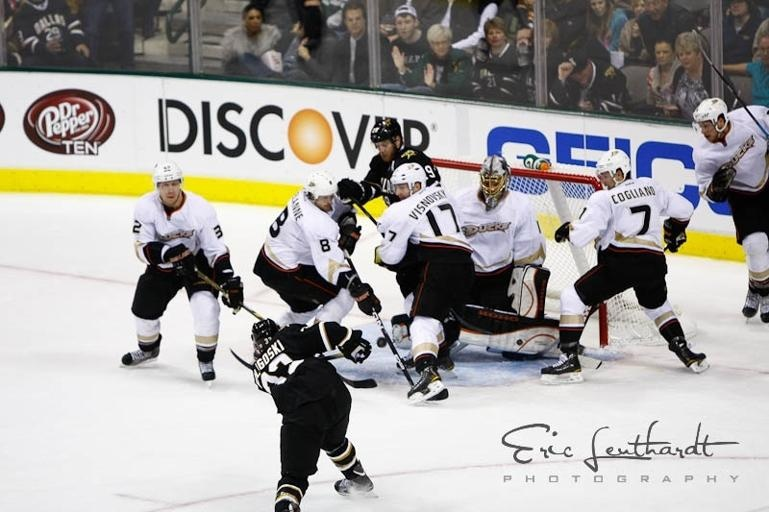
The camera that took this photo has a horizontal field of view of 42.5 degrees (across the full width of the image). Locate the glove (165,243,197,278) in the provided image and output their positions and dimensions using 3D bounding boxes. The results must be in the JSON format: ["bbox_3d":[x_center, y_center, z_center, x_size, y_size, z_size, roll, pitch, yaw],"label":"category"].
[{"bbox_3d":[-1.612,0.033,7.731,0.199,0.262,0.180,3,8,8],"label":"glove"}]

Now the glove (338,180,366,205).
[{"bbox_3d":[-0.293,-0.554,8.361,0.167,0.079,0.219,-21,38,-31],"label":"glove"}]

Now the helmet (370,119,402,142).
[{"bbox_3d":[0.009,-1.068,8.446,0.251,0.198,0.225,1,7,-1],"label":"helmet"}]

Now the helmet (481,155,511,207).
[{"bbox_3d":[0.895,-0.632,7.853,0.272,0.358,0.420,2,19,23],"label":"helmet"}]

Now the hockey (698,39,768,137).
[{"bbox_3d":[3.304,-1.583,9.266,0.054,1.220,0.180,-22,-24,3],"label":"hockey"}]

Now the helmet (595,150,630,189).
[{"bbox_3d":[1.832,-0.705,7.890,0.283,0.295,0.262,-20,10,-36],"label":"helmet"}]

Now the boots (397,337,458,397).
[{"bbox_3d":[0.339,0.907,7.394,0.556,0.246,0.702,-2,29,1],"label":"boots"}]

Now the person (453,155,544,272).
[{"bbox_3d":[0.909,-0.347,8.064,0.968,0.918,0.532,10,18,38],"label":"person"}]

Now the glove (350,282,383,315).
[{"bbox_3d":[-0.152,0.335,7.639,0.172,0.289,0.100,-37,9,0],"label":"glove"}]

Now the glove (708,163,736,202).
[{"bbox_3d":[2.954,-0.646,8.688,0.172,0.331,0.094,32,27,30],"label":"glove"}]

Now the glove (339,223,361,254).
[{"bbox_3d":[-0.299,-0.149,8.172,0.160,0.249,0.099,24,-14,-10],"label":"glove"}]

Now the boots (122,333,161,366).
[{"bbox_3d":[-1.982,0.771,8.034,0.324,0.199,0.105,-16,49,-30],"label":"boots"}]

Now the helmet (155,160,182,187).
[{"bbox_3d":[-1.742,-0.672,7.822,0.196,0.244,0.244,-9,-4,-14],"label":"helmet"}]

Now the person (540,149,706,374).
[{"bbox_3d":[1.881,0.067,7.854,1.314,1.792,0.635,1,8,-5],"label":"person"}]

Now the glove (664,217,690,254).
[{"bbox_3d":[2.398,-0.186,8.171,0.218,0.281,0.104,8,15,-2],"label":"glove"}]

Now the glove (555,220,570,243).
[{"bbox_3d":[1.428,-0.182,7.879,0.089,0.202,0.075,21,26,-12],"label":"glove"}]

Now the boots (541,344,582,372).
[{"bbox_3d":[1.330,0.820,7.790,0.437,0.257,0.143,2,-4,0],"label":"boots"}]

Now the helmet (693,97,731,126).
[{"bbox_3d":[2.872,-1.281,8.648,0.296,0.251,0.229,8,-1,-2],"label":"helmet"}]

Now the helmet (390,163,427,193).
[{"bbox_3d":[0.188,-0.623,7.801,0.259,0.229,0.193,-1,8,-12],"label":"helmet"}]

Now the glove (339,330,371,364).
[{"bbox_3d":[-0.184,0.603,6.380,0.228,0.086,0.181,20,51,39],"label":"glove"}]

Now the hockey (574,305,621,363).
[{"bbox_3d":[1.759,0.677,8.232,0.131,0.343,0.465,7,49,0],"label":"hockey"}]

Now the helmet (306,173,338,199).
[{"bbox_3d":[-0.509,-0.559,7.835,0.229,0.180,0.178,-7,28,20],"label":"helmet"}]

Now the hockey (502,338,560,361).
[{"bbox_3d":[1.224,0.759,8.028,0.336,0.117,0.234,0,-2,-21],"label":"hockey"}]
